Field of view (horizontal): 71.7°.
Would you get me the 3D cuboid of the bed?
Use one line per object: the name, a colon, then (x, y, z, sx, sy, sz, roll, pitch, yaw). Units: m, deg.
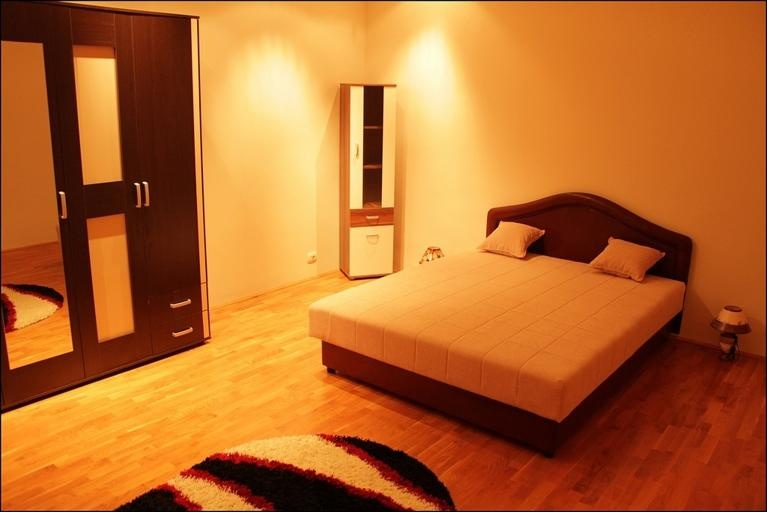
bed: (1.209, 0.516, 4.154, 1.976, 1.262, 2.418, 17, 28, 38)

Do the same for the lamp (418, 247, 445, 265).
lamp: (0.512, -0.028, 5.683, 0.220, 0.206, 0.238, 12, 22, 37)

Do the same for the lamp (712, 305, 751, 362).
lamp: (2.787, 0.614, 4.275, 0.252, 0.427, 0.273, 12, 22, 37)

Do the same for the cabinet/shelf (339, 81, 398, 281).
cabinet/shelf: (-0.183, -0.784, 5.806, 0.601, 2.004, 0.480, -4, 15, -16)
